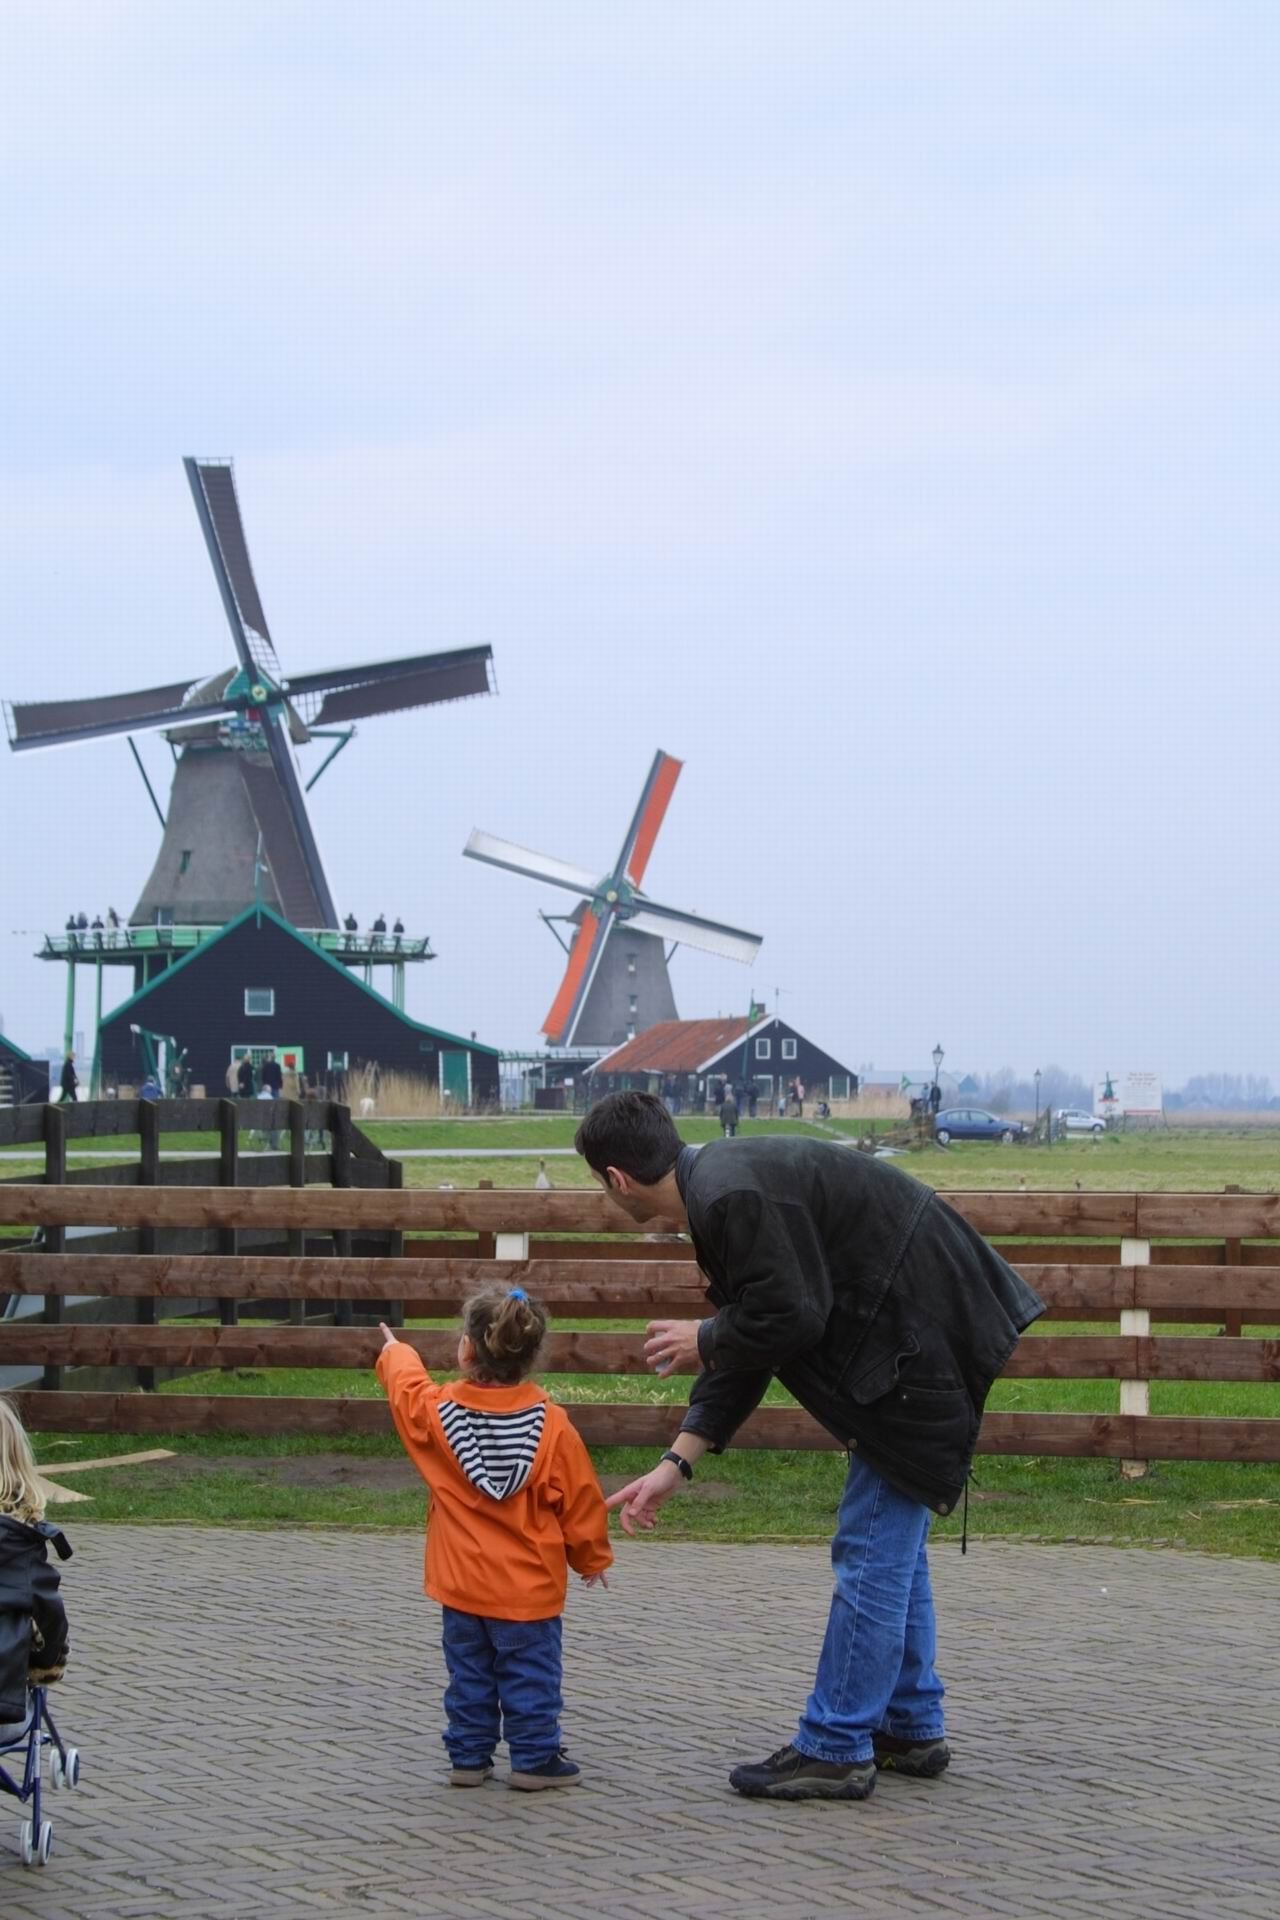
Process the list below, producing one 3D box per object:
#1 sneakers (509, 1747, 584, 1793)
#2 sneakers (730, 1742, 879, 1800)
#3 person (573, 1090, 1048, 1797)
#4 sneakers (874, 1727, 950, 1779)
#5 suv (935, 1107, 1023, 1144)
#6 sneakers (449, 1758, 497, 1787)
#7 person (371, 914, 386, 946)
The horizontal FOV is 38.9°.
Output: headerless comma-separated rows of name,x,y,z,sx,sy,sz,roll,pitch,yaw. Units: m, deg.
sneakers,-0.186,1.693,3.830,0.163,0.073,0.061,0,2,-30
sneakers,0.340,1.690,3.820,0.320,0.144,0.103,6,-15,-2
person,0.352,1.028,3.830,0.682,1.482,0.752,0,-3,32
sneakers,0.575,1.720,3.991,0.196,0.090,0.070,4,2,41
suv,11.678,5.763,63.135,2.492,0.783,1.298,-1,3,-7
sneakers,-0.353,1.699,3.801,0.042,0.046,0.112,0,-15,4
person,-9.036,-1.033,63.115,0.420,0.846,0.765,1,-2,8
